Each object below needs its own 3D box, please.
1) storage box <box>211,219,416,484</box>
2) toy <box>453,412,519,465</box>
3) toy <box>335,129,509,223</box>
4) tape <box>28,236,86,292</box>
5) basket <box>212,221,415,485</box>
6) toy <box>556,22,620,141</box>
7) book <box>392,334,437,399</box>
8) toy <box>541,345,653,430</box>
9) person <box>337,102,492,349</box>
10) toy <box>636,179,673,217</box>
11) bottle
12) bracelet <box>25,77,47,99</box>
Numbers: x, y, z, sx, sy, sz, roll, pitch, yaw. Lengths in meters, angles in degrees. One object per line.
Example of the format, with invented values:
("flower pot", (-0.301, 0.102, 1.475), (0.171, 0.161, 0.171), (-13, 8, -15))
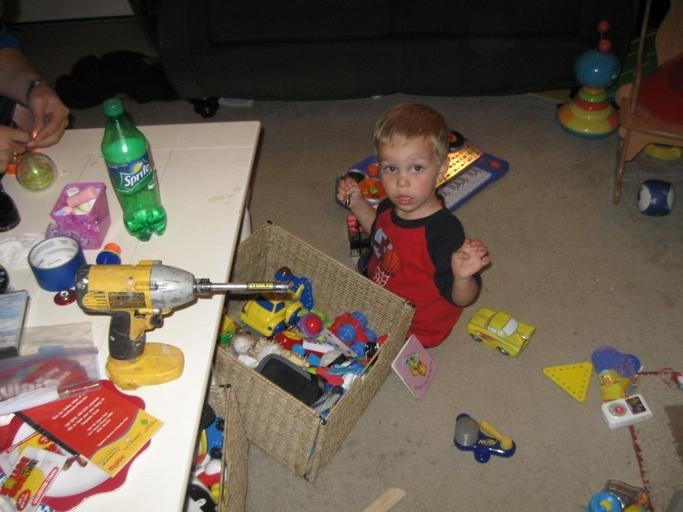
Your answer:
("storage box", (-0.166, 0.401, 2.357), (0.877, 0.514, 0.890), (29, 49, 1))
("toy", (0.543, 0.688, 2.081), (0.218, 0.052, 0.191), (9, 22, 10))
("toy", (0.515, -0.421, 2.968), (0.550, 0.154, 0.698), (27, 53, 28))
("tape", (-0.831, 0.027, 1.617), (0.116, 0.083, 0.115), (-17, 53, -24))
("basket", (0.019, 0.432, 2.198), (0.640, 0.889, 0.880), (-4, 38, -5))
("toy", (1.440, -0.999, 3.060), (0.337, 0.574, 0.385), (20, 51, 21))
("book", (0.285, 0.429, 2.170), (0.053, 0.229, 0.218), (-4, 43, 48))
("toy", (1.024, 0.531, 2.207), (0.205, 0.092, 0.270), (-26, 49, -27))
("person", (0.274, -0.094, 2.271), (0.562, 0.916, 0.596), (16, 39, 10))
("toy", (1.537, -0.300, 2.782), (0.142, 0.186, 0.173), (8, 10, 9))
("bottle", (-0.628, -0.264, 1.748), (0.165, 0.503, 0.168), (0, 45, 0))
("bracelet", (-1.207, -0.657, 2.190), (0.064, 0.024, 0.089), (0, 83, 17))
